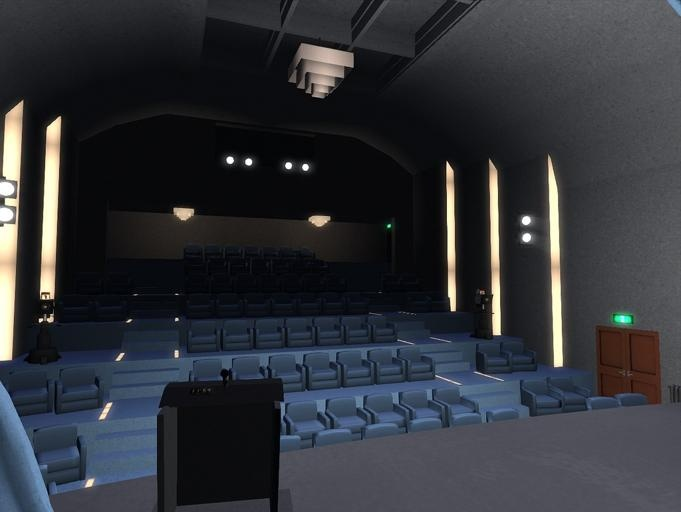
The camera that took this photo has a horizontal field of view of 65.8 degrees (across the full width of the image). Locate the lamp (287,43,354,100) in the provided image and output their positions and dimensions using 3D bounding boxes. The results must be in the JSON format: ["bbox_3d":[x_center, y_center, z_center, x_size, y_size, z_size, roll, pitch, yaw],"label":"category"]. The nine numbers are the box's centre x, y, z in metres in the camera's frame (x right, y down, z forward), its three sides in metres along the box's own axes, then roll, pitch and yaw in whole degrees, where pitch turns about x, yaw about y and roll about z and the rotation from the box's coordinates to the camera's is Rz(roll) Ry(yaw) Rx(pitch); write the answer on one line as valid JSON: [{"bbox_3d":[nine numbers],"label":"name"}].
[{"bbox_3d":[-0.503,-4.425,12.476,0.872,0.347,1.327,7,-13,-15],"label":"lamp"}]
